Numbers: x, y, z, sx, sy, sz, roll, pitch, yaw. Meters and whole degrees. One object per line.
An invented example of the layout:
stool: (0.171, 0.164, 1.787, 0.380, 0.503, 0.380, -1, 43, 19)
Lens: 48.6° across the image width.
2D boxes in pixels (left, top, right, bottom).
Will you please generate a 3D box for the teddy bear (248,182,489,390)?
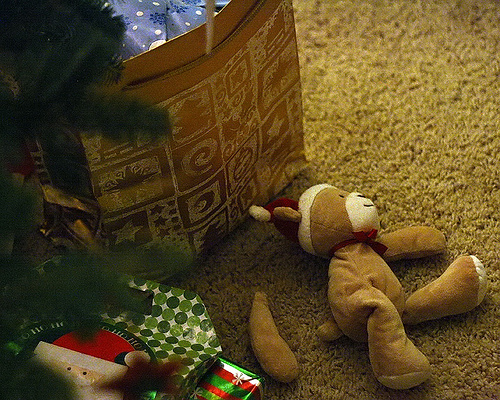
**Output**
teddy bear: (0.265, 0.149, 1.394, 0.568, 0.351, 0.468, 15, 34, 33)

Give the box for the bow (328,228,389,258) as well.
bow: (0.259, 0.106, 1.374, 0.126, 0.110, 0.080, 8, 86, 5)
